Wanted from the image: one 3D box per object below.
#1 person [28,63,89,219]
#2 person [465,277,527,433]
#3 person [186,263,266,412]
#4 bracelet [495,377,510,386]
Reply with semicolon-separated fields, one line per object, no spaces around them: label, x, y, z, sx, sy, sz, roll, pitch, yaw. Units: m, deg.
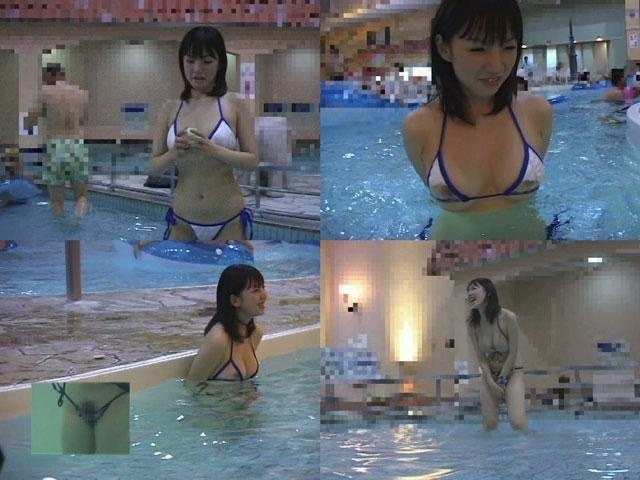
person;-1.576;-0.602;3.407;0.304;0.911;0.086;3;5;15
person;1.074;0.694;3.362;0.362;0.892;0.134;1;5;-5
person;-0.574;0.564;3.413;0.457;0.803;0.165;2;5;3
bracelet;1.101;0.850;3.343;0.068;0.041;0.071;3;20;15
